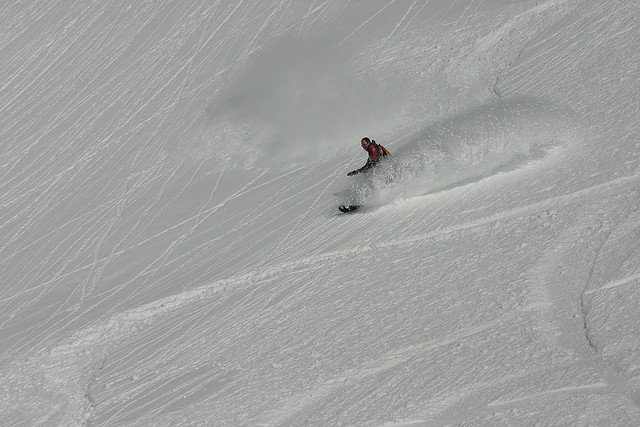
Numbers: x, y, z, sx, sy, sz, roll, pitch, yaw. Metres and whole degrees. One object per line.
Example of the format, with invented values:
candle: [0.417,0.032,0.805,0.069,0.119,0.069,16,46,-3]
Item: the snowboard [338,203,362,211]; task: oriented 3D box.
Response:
snowboard: [0.562,-0.124,19.423,0.454,0.088,0.144,1,6,4]
